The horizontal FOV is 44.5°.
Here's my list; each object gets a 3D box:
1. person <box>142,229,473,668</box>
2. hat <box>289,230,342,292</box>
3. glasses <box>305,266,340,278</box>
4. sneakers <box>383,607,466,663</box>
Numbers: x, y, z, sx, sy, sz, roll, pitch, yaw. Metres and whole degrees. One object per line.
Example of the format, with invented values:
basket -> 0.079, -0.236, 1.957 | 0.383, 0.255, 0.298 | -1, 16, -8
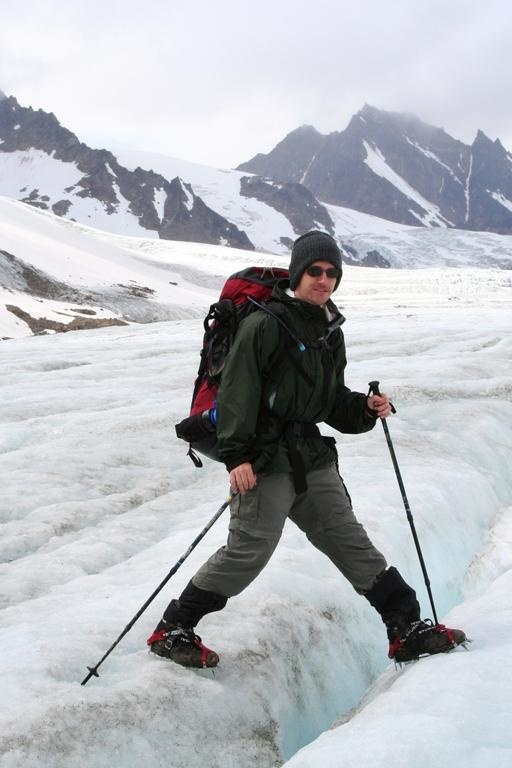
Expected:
person -> 0.266, 0.447, 3.775 | 1.557, 2.770, 0.759 | 7, 7, 2
hat -> 0.387, -0.762, 3.876 | 0.270, 0.300, 0.327 | 10, -9, -22
glasses -> 0.396, -0.673, 3.755 | 0.108, 0.032, 0.104 | 3, -14, -21
sneakers -> 0.938, 1.441, 3.576 | 0.493, 0.219, 0.202 | -15, 0, 10
